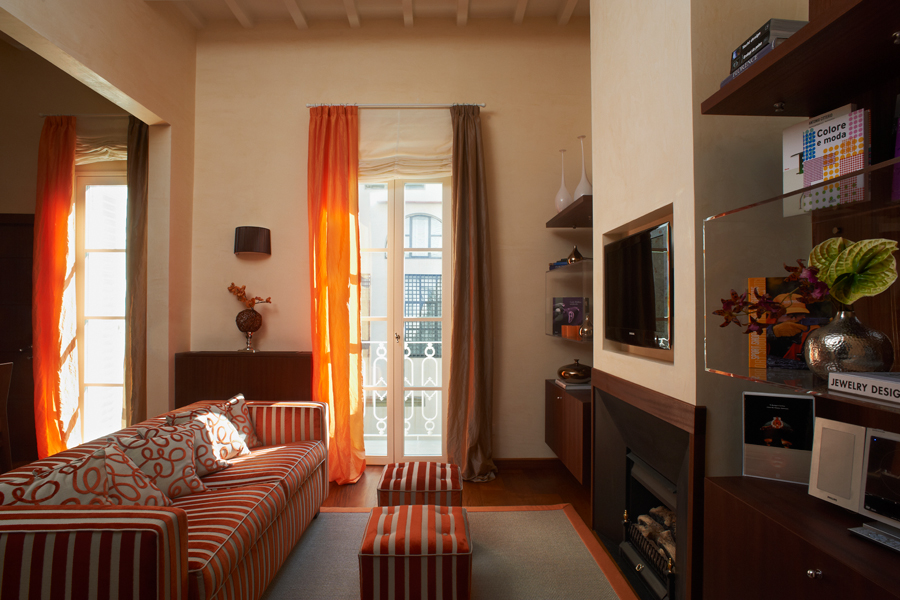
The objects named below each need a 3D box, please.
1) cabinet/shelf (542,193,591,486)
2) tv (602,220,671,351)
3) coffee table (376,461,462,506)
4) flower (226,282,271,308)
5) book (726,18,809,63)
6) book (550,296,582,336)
[{"bbox_3d":[0.944,0.351,5.238,0.423,2.270,1.012,-1,0,11],"label":"cabinet/shelf"},{"bbox_3d":[1.083,0.028,3.851,0.658,0.516,0.071,5,-7,-36],"label":"tv"},{"bbox_3d":[-0.214,1.226,4.245,0.539,0.230,0.506,-1,0,-6],"label":"coffee table"},{"bbox_3d":[-1.768,-0.030,5.583,0.410,0.271,0.177,5,-6,-12],"label":"flower"},{"bbox_3d":[1.538,-1.219,3.116,0.237,0.170,0.339,9,-3,-9],"label":"book"},{"bbox_3d":[0.973,0.135,5.363,0.292,0.360,0.044,3,2,36],"label":"book"}]
